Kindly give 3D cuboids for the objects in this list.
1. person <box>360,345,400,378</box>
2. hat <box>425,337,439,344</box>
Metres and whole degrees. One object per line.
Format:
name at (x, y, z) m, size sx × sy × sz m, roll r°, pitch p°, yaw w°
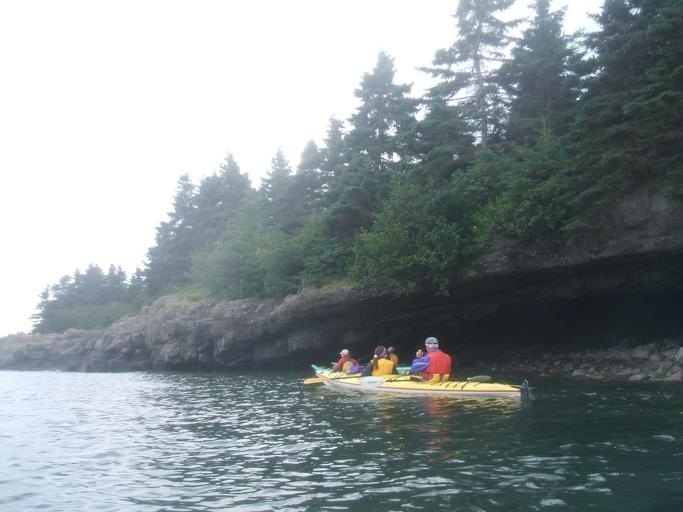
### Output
person at (1.772, 5.177, 36.129) m, size 1.589 × 0.692 × 1.703 m, roll 1°, pitch -1°, yaw -30°
hat at (3.996, 3.799, 33.033) m, size 0.789 × 0.266 × 0.754 m, roll 0°, pitch -4°, yaw -1°
